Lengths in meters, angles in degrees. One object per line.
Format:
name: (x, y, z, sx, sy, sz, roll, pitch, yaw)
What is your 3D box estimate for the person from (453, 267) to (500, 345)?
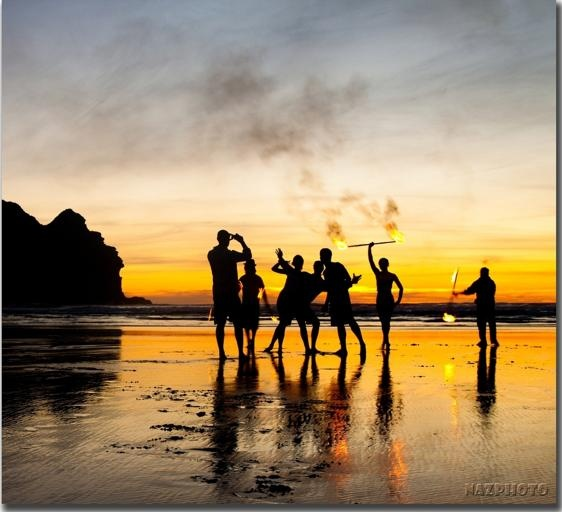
person: (5.455, 1.394, 18.635, 0.905, 2.154, 1.344, -1, -3, 17)
